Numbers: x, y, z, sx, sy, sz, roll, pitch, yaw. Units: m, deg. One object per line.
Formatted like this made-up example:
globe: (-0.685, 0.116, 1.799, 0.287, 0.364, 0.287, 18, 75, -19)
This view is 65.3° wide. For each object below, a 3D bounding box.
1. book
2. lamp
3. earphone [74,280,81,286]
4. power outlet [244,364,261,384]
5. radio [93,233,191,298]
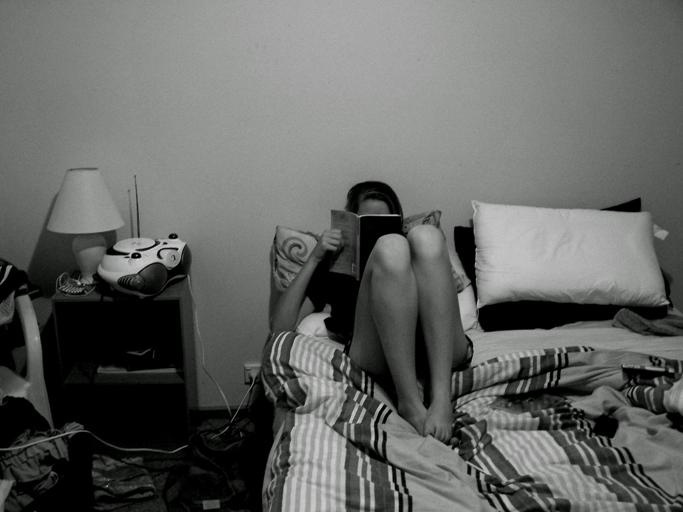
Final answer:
book: (0.066, -0.057, 1.940, 0.240, 0.260, 0.079, 11, 11, 40)
lamp: (-1.059, -0.123, 2.227, 0.273, 0.487, 0.291, 8, 15, 17)
earphone: (-1.065, 0.110, 2.159, 0.024, 0.006, 0.024, 27, 23, 38)
power outlet: (-0.430, 0.563, 2.528, 0.081, 0.087, 0.024, 2, 4, 16)
radio: (-0.847, 0.037, 2.254, 0.344, 0.204, 0.383, 7, 21, 20)
